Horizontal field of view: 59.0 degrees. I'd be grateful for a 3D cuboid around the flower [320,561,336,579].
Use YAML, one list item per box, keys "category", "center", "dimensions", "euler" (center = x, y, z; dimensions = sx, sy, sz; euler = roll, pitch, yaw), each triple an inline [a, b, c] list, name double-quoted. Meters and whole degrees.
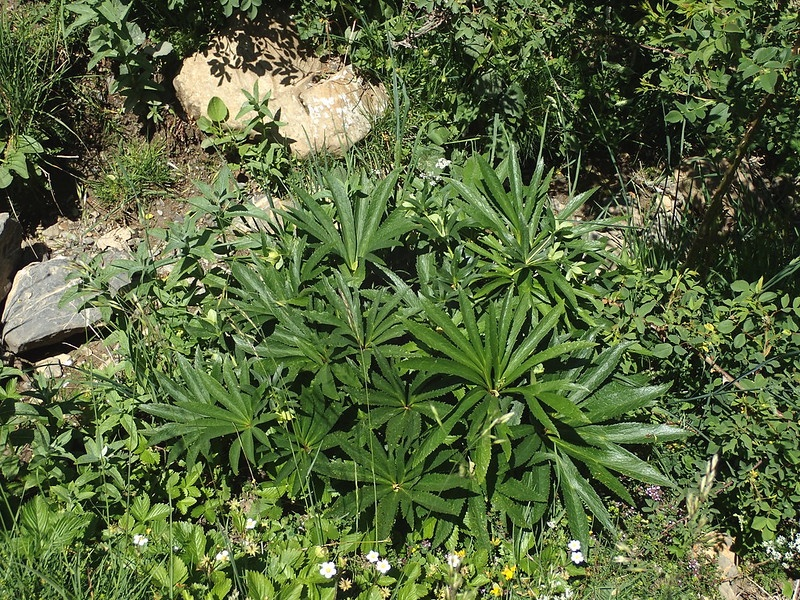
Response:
- category: "flower"
  center: [-0.332, 1.230, 3.246]
  dimensions: [0.073, 0.061, 0.093]
  euler: [-2, 36, -9]
